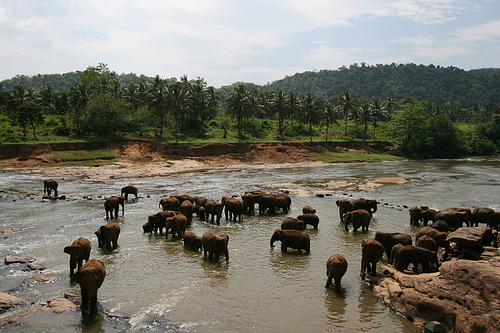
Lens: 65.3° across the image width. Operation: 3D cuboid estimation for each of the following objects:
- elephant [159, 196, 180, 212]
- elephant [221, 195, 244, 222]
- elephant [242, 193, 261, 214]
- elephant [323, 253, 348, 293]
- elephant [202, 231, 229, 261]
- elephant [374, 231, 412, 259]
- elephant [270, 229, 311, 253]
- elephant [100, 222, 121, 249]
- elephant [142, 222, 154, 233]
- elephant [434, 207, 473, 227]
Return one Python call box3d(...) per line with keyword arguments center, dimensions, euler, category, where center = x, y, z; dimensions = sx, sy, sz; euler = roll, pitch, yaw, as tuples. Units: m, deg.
box3d(center=(-6.232, 2.903, 30.646), dimensions=(1.409, 0.946, 1.535), euler=(1, 4, -9), category="elephant")
box3d(center=(-1.352, 3.281, 30.252), dimensions=(1.145, 1.572, 2.038), euler=(0, 4, -20), category="elephant")
box3d(center=(0.061, 3.051, 32.168), dimensions=(1.336, 1.567, 0.587), euler=(1, 5, -1), category="elephant")
box3d(center=(4.407, 5.306, 19.967), dimensions=(0.972, 1.461, 2.143), euler=(0, -12, 17), category="elephant")
box3d(center=(-2.103, 4.775, 23.238), dimensions=(1.028, 1.587, 2.326), euler=(-6, 14, -42), category="elephant")
box3d(center=(8.210, 4.538, 22.946), dimensions=(2.644, 1.436, 1.168), euler=(1, 0, 17), category="elephant")
box3d(center=(2.539, 4.617, 24.273), dimensions=(2.656, 1.366, 1.046), euler=(3, 2, 22), category="elephant")
box3d(center=(-8.835, 4.351, 24.697), dimensions=(1.231, 1.613, 2.320), euler=(-2, 2, -10), category="elephant")
box3d(center=(-7.060, 4.239, 27.332), dimensions=(0.676, 0.596, 0.619), euler=(5, 12, 14), category="elephant")
box3d(center=(14.740, 3.410, 28.249), dimensions=(2.247, 1.070, 0.793), euler=(-1, 6, 10), category="elephant")
